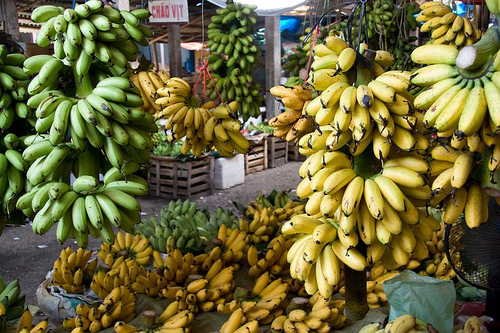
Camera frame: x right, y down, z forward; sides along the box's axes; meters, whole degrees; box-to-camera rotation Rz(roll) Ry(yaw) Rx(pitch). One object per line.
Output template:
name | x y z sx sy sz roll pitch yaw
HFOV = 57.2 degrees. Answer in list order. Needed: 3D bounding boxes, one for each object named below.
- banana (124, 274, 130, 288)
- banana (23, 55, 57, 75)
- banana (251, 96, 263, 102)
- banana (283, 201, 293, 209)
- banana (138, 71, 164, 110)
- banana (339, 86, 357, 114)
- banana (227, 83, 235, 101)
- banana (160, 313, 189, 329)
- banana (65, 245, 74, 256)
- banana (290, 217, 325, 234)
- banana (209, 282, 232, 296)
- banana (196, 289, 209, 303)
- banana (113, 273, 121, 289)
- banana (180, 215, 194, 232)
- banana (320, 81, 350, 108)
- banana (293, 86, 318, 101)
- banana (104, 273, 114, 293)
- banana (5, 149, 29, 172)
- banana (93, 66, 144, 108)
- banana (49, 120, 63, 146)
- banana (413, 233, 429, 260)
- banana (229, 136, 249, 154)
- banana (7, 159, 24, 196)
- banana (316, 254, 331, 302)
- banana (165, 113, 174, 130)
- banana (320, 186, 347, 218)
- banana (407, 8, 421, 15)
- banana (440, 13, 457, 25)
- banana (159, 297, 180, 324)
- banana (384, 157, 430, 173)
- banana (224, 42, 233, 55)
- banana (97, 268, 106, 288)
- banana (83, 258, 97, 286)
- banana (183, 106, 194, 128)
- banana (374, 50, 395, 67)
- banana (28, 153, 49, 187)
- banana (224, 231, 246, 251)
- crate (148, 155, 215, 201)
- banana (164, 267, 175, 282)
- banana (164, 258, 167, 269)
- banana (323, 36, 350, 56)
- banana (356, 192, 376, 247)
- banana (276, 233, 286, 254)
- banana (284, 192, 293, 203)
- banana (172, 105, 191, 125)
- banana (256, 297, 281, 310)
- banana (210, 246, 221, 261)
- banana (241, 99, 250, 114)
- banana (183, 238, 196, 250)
banana | -1.020 0.954 3.813 0.033 0.120 0.035 0 -14 -7
banana | -1.383 -0.679 3.016 0.048 0.097 0.169 -1 20 47
banana | 0.086 -0.621 4.214 0.064 0.057 0.154 -14 17 -33
banana | 0.442 0.426 5.216 0.038 0.049 0.149 21 39 24
banana | -0.752 -0.597 3.512 0.078 0.362 0.118 -23 3 16
banana | 0.543 -0.368 2.533 0.076 0.135 0.159 1 15 24
banana | -0.163 -0.664 4.115 0.043 0.171 0.054 6 2 31
banana | -0.548 1.134 3.356 0.216 0.079 0.093 -6 14 -6
banana | -1.692 0.791 4.300 0.043 0.055 0.155 -2 12 -3
banana | 0.330 0.348 2.765 0.259 0.095 0.074 4 39 -8
banana | -0.219 0.981 3.700 0.062 0.085 0.244 12 16 30
banana | -0.368 1.024 3.621 0.106 0.104 0.068 -7 14 -10
banana | -1.086 0.936 3.761 0.034 0.120 0.038 6 -7 -4
banana | -0.681 0.587 4.896 0.058 0.090 0.274 -16 60 -28
banana | 0.456 -0.399 2.583 0.250 0.084 0.071 -40 18 -28
banana | 0.342 -0.455 2.845 0.143 0.076 0.060 18 16 -27
banana | -1.148 0.953 3.743 0.043 0.169 0.054 -5 -2 12
banana | -1.533 -0.041 3.019 0.195 0.089 0.068 49 6 24
banana | -0.879 -0.522 3.025 0.422 0.101 0.136 37 18 -11
banana | -1.191 -0.207 2.854 0.042 0.170 0.059 -7 5 11
banana | 1.033 0.500 2.772 0.076 0.213 0.061 -9 2 -28
banana | -0.088 -0.175 3.684 0.062 0.177 0.044 -46 9 -38
banana | -1.554 0.083 3.079 0.070 0.267 0.085 -14 -3 4
banana | 0.426 0.655 2.706 0.082 0.267 0.068 -13 -13 43
banana | -0.617 -0.355 3.561 0.033 0.128 0.042 20 1 16
banana | 0.475 0.193 2.639 0.077 0.070 0.244 -6 39 55
banana | 1.568 -1.490 4.403 0.158 0.053 0.050 -10 15 -20
banana | 1.512 -1.132 3.507 0.158 0.054 0.049 -15 -31 -8
banana | -0.611 1.114 3.549 0.243 0.066 0.079 -54 1 -22
banana | 0.869 -0.015 2.601 0.305 0.089 0.126 1 27 19
banana | -0.193 -1.043 4.094 0.057 0.037 0.149 -48 10 52
banana | -1.231 0.913 3.818 0.045 0.175 0.056 -23 -15 18
banana | -1.431 0.938 4.129 0.059 0.275 0.089 7 -32 0
banana | -0.458 -0.384 3.546 0.045 0.056 0.173 9 50 8
banana | 0.826 -0.663 2.816 0.133 0.083 0.068 21 46 5
banana | -1.336 0.013 2.929 0.065 0.083 0.225 2 55 38
banana | -0.134 0.708 4.317 0.187 0.039 0.062 -46 6 -25
crate | -1.327 0.171 8.661 0.903 0.614 0.974 6 11 19
banana | -0.663 0.891 3.833 0.068 0.122 0.078 -6 16 41
banana | -0.719 0.830 3.913 0.021 0.082 0.016 4 18 -6
banana | 0.498 -0.715 2.671 0.221 0.062 0.076 16 -22 -38
banana | 0.648 0.306 2.643 0.082 0.325 0.105 -3 -4 -6
banana | 0.280 0.699 4.227 0.054 0.218 0.070 1 -13 10
banana | 0.460 0.365 5.449 0.050 0.034 0.140 13 38 -43
banana | -0.533 -0.390 3.506 0.054 0.069 0.209 18 64 32
banana | 0.154 1.050 3.502 0.247 0.085 0.068 -15 -35 33
banana | -0.308 0.776 4.144 0.051 0.158 0.103 27 -4 -11
banana | -0.038 -0.544 4.181 0.035 0.166 0.057 -6 15 -3
banana | -0.575 0.740 4.386 0.126 0.084 0.071 -7 14 -8
